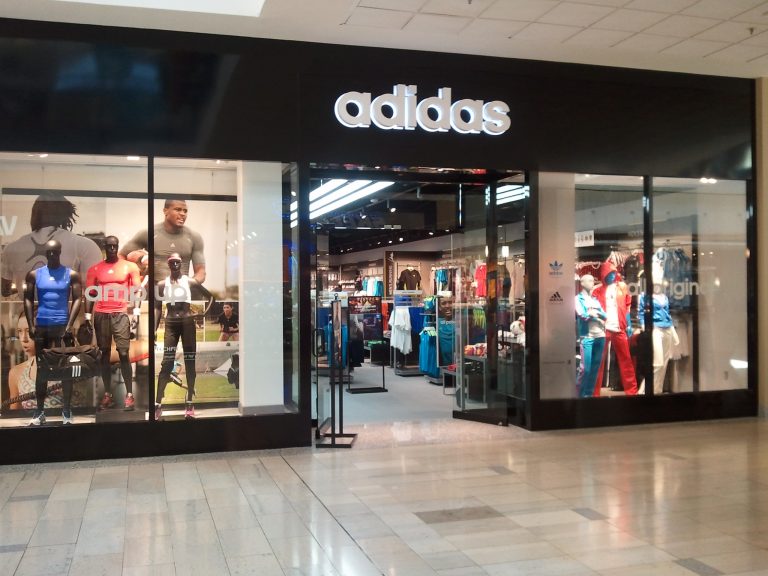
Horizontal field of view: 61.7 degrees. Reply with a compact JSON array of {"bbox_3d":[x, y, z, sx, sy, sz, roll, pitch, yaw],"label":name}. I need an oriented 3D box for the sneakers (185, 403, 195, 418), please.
[{"bbox_3d":[-2.069,1.304,6.864,0.089,0.150,0.149,2,1,-14],"label":"sneakers"}]

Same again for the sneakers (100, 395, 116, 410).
[{"bbox_3d":[-2.880,1.187,6.741,0.104,0.150,0.161,4,-13,-23],"label":"sneakers"}]

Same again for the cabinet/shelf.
[{"bbox_3d":[1.266,1.074,8.189,0.741,0.726,1.094,3,-5,-23],"label":"cabinet/shelf"}]

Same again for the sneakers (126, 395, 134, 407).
[{"bbox_3d":[-2.664,1.193,6.779,0.086,0.119,0.117,0,0,-20],"label":"sneakers"}]

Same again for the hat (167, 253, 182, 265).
[{"bbox_3d":[-2.236,-0.325,6.902,0.085,0.090,0.108,2,-5,-23],"label":"hat"}]

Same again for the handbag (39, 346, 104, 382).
[{"bbox_3d":[-3.242,0.768,6.697,0.611,0.404,0.318,-1,-5,-17],"label":"handbag"}]

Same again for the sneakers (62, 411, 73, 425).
[{"bbox_3d":[-3.262,1.342,6.648,0.075,0.141,0.059,-4,-19,-4],"label":"sneakers"}]
